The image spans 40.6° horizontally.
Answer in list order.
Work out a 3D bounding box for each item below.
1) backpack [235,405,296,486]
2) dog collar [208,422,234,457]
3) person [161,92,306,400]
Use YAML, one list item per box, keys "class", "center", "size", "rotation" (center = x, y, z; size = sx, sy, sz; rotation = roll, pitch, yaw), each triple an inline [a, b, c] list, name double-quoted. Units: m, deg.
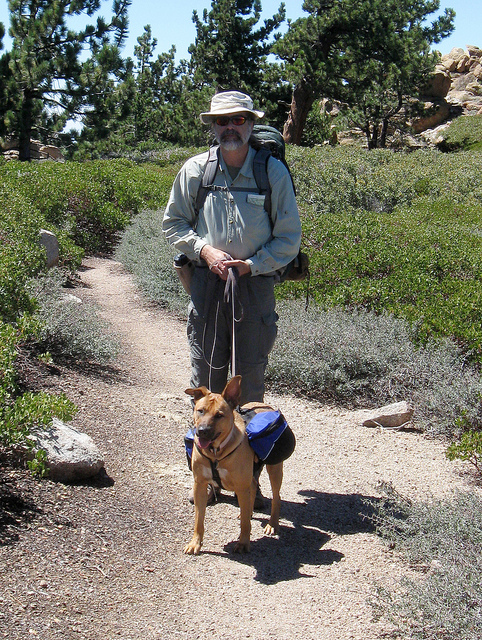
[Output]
- class: "backpack"
  center: [0.100, 0.674, 3.620]
  size: [0.355, 0.331, 0.350]
  rotation: [10, 13, 12]
- class: "dog collar"
  center: [-0.100, 0.611, 3.296]
  size: [0.102, 0.029, 0.076]
  rotation: [-43, -6, -29]
- class: "person"
  center: [-0.058, -0.461, 4.098]
  size: [0.730, 1.835, 0.632]
  rotation: [20, 18, 39]
